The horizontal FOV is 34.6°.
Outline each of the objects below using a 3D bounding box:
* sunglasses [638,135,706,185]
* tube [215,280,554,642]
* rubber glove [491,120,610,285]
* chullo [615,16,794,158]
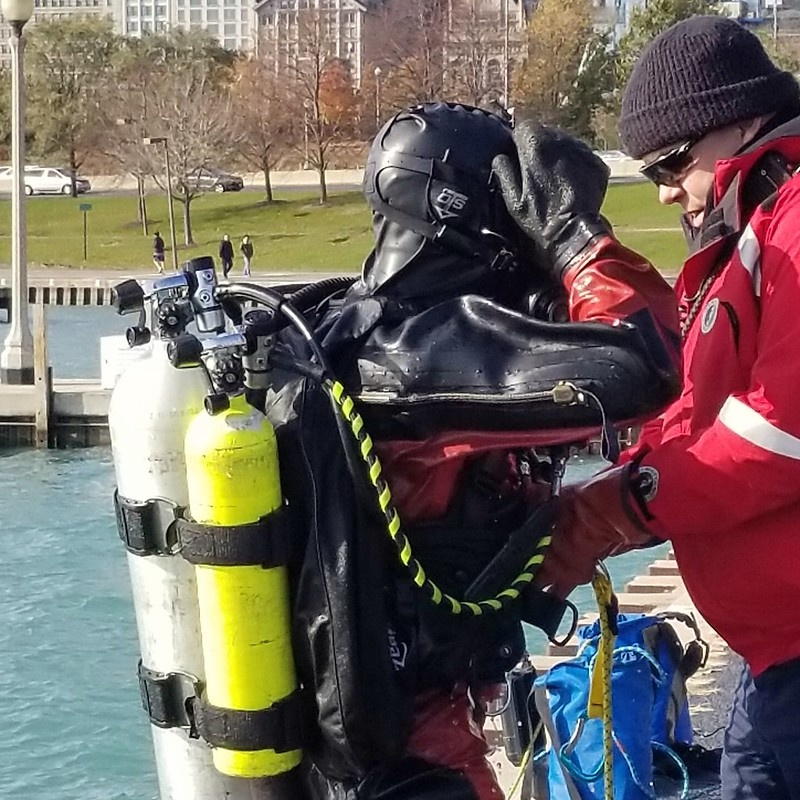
[{"bbox_3d":[0.685,-0.601,3.249,0.108,0.036,0.107,-40,9,-19],"label":"sunglasses"},{"bbox_3d":[-0.076,0.114,2.921,0.594,0.870,0.102,-5,-23,-46],"label":"tube"},{"bbox_3d":[0.375,-0.464,3.035,0.298,0.356,0.146,-17,-14,15],"label":"rubber glove"},{"bbox_3d":[0.724,-0.770,3.192,0.392,0.236,0.380,-23,-7,-37],"label":"chullo"}]
